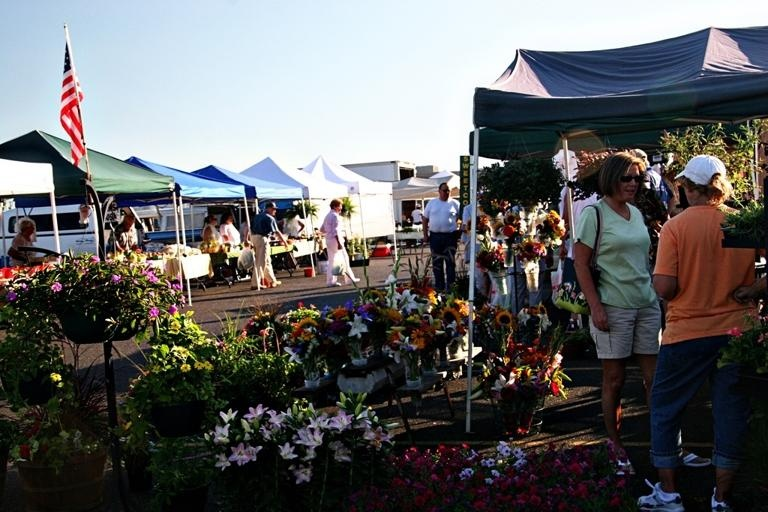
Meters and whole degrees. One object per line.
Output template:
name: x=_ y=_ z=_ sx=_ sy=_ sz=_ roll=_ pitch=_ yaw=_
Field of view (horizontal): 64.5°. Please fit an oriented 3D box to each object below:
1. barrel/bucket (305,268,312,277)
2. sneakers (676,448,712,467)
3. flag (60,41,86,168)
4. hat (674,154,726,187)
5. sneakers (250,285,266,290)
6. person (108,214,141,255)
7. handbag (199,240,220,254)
barrel/bucket: x=-2.197 y=0.442 z=17.593 sx=0.217 sy=0.204 sz=0.220 roll=-2 pitch=2 yaw=0
sneakers: x=2.294 y=1.476 z=4.461 sx=0.189 sy=0.062 sz=0.101 roll=2 pitch=7 yaw=20
flag: x=-4.248 y=-2.023 z=8.242 sx=0.269 sy=1.649 sz=1.434 roll=-7 pitch=15 yaw=-26
hat: x=2.065 y=-0.571 z=3.975 sx=0.247 sy=0.145 sz=0.187 roll=12 pitch=18 yaw=42
sneakers: x=-3.097 y=0.759 z=14.848 sx=0.122 sy=0.163 sz=0.395 roll=5 pitch=-2 yaw=-41
person: x=-5.519 y=-0.423 z=13.101 sx=0.703 sy=0.926 sz=0.732 roll=6 pitch=5 yaw=-15
handbag: x=-4.434 y=-0.274 z=15.442 sx=0.401 sy=0.279 sz=0.402 roll=4 pitch=3 yaw=37
